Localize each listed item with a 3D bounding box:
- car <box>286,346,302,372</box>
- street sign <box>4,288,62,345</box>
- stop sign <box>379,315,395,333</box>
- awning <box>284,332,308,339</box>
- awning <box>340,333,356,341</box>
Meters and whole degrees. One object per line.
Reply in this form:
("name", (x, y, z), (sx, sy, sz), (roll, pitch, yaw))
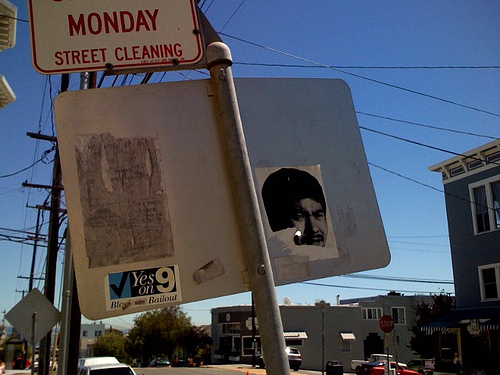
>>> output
("car", (4.132, 15.801, 39.925), (1.092, 2.249, 7.678), (-5, -16, 4))
("street sign", (-4.133, 2.462, 8.339), (0.971, 0.930, 0.575), (9, -20, -40))
("stop sign", (5.449, 5.420, 17.299), (0.526, 0.635, 0.928), (-9, -16, 16))
("awning", (4.891, 15.871, 46.474), (2.982, 0.864, 1.195), (7, -19, -36))
("awning", (10.805, 16.373, 47.627), (1.729, 0.965, 1.023), (-2, -16, -11))
